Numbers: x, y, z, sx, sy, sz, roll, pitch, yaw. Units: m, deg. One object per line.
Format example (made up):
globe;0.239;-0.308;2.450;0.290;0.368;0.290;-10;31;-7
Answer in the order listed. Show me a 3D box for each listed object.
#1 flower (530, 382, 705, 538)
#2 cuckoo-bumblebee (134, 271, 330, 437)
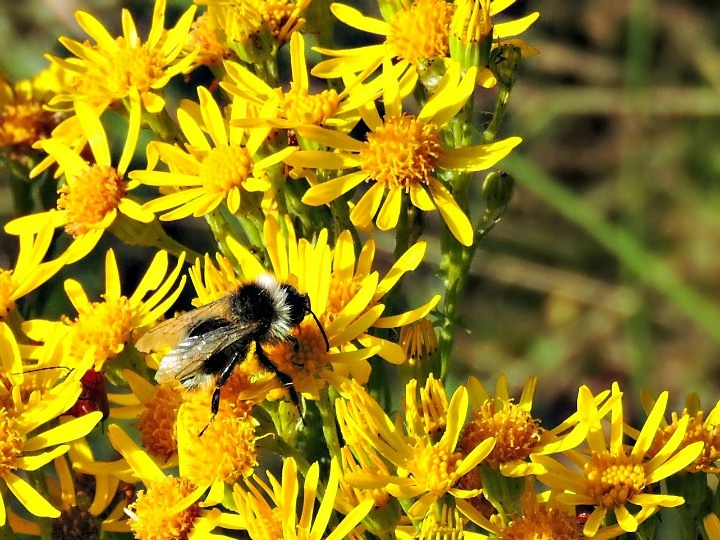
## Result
flower;0.550;0.422;2.187;0.308;0.331;0.130;-10;-40;1
cuckoo-bumblebee;-0.262;0.156;2.397;0.388;0.150;0.311;-29;28;-10
